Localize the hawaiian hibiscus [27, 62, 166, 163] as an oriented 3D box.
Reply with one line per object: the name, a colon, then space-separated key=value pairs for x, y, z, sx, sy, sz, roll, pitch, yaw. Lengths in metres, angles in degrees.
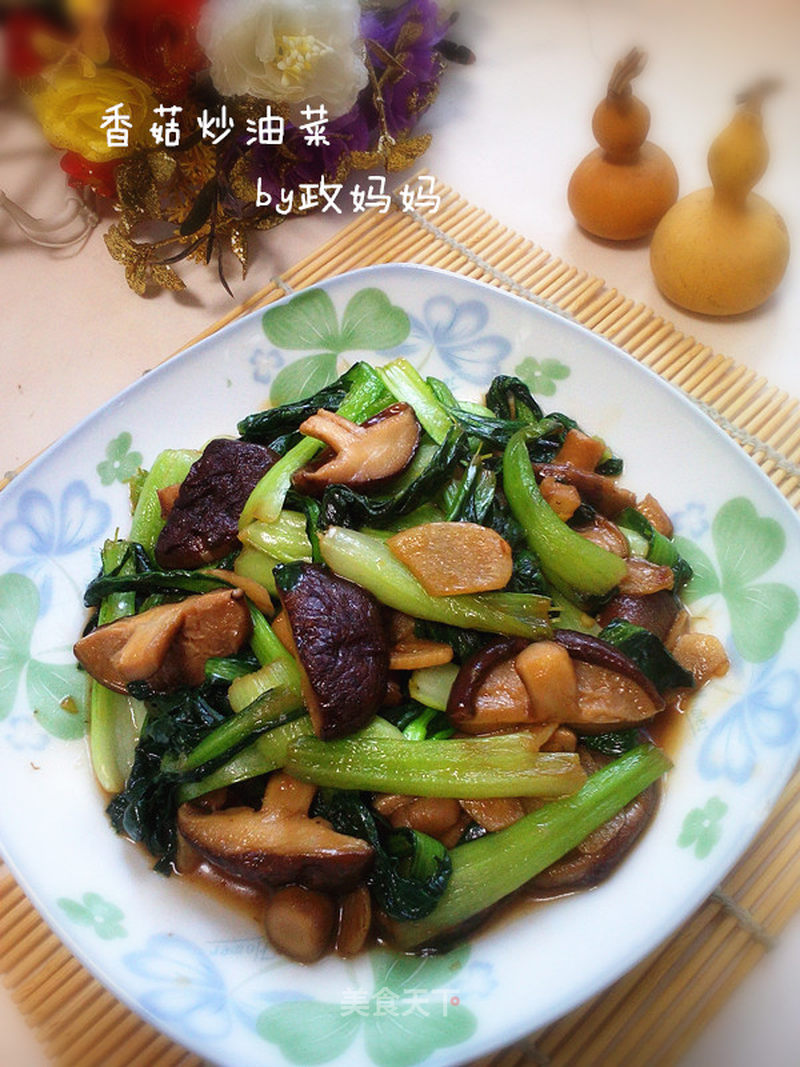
hawaiian hibiscus: x=-1.262 y=-1.752 z=4.155 sx=0.446 sy=0.358 sz=0.170 roll=-15 pitch=30 yaw=11

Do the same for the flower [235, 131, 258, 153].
flower: x=-0.666 y=-1.694 z=4.313 sx=0.020 sy=0.070 sz=0.078 roll=-15 pitch=39 yaw=-31

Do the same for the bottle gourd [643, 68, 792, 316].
bottle gourd: x=1.376 y=-1.381 z=4.013 sx=0.690 sy=0.884 sz=0.536 roll=-5 pitch=49 yaw=8
